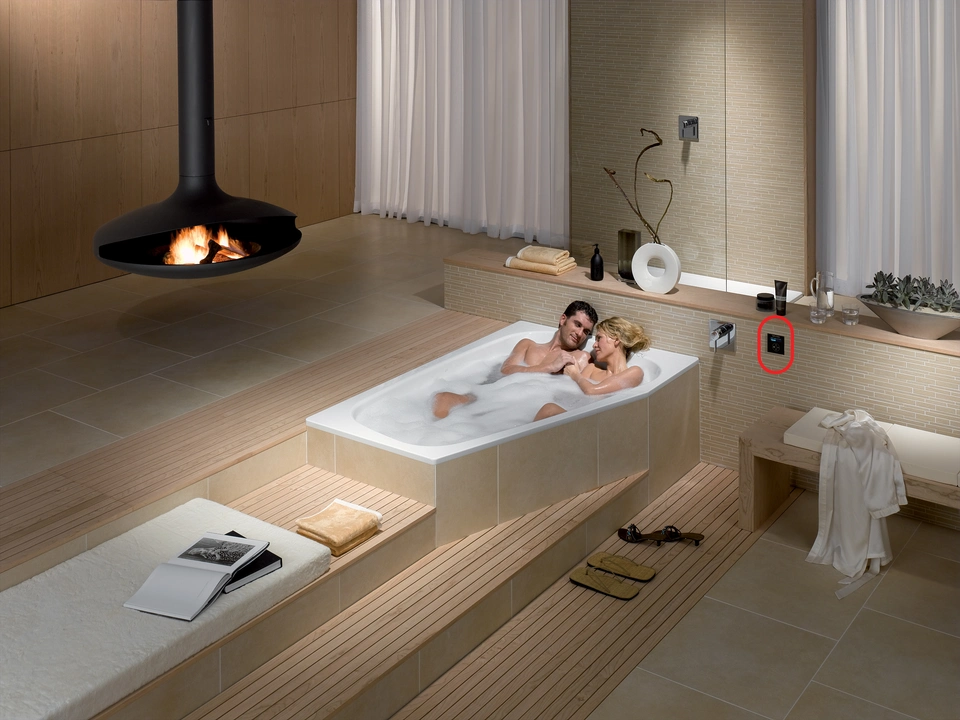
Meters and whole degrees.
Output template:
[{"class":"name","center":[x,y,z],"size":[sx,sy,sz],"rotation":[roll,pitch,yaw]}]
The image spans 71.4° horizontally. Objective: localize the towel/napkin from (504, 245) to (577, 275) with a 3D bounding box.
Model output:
[{"class":"towel/napkin","center":[0.398,-0.680,4.564],"size":[0.474,0.141,0.217],"rotation":[8,21,21]}]

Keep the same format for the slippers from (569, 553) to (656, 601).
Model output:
[{"class":"slippers","center":[0.600,0.975,3.056],"size":[0.218,0.048,0.191],"rotation":[13,25,34]}]

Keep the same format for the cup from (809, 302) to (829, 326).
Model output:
[{"class":"cup","center":[1.839,-0.251,3.678],"size":[0.107,0.111,0.104],"rotation":[-2,19,1]}]

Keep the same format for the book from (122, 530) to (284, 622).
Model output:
[{"class":"book","center":[-0.990,0.758,2.393],"size":[0.356,0.074,0.455],"rotation":[11,23,28]}]

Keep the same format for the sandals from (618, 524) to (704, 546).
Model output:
[{"class":"sandals","center":[0.904,0.868,3.323],"size":[0.301,0.054,0.155],"rotation":[4,8,19]}]

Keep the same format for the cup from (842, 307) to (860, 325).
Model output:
[{"class":"cup","center":[1.975,-0.228,3.563],"size":[0.095,0.068,0.069],"rotation":[-21,27,-38]}]

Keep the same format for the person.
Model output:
[{"class":"person","center":[0.496,0.020,3.794],"size":[1.045,0.200,0.662],"rotation":[-26,35,-38]}]
